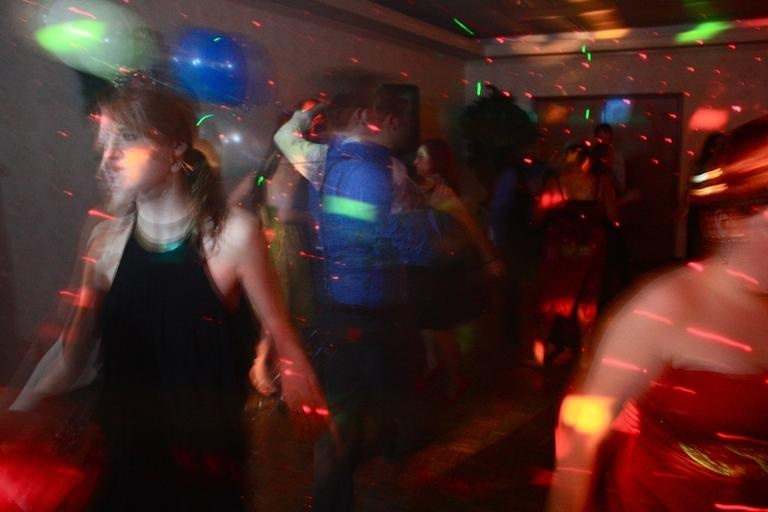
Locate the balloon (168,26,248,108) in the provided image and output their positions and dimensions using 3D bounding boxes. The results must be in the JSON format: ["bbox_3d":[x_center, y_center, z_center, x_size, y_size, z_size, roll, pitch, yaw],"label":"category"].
[{"bbox_3d":[-0.977,-1.073,3.239,0.516,0.301,0.490,-11,25,-25],"label":"balloon"}]
